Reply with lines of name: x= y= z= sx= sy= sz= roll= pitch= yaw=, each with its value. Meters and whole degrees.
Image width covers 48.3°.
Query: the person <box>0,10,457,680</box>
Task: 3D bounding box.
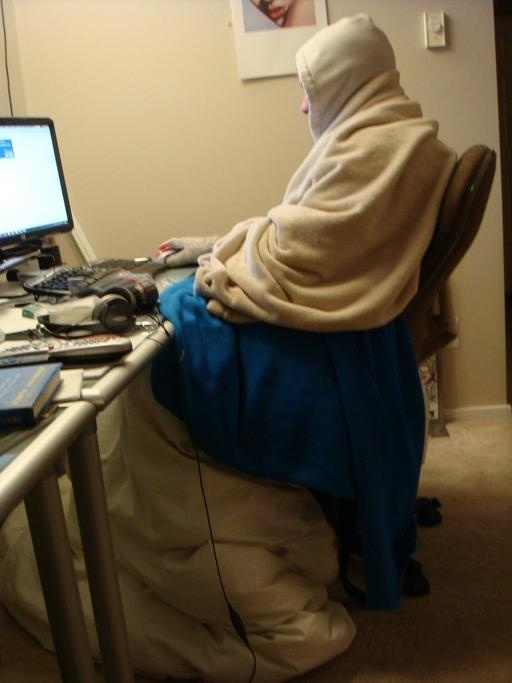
person: x=-0.083 y=-0.158 z=1.678 sx=1.006 sy=1.496 sz=1.158 roll=9 pitch=9 yaw=12

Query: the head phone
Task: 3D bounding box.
head phone: x=-0.246 y=-0.036 z=0.818 sx=0.110 sy=0.041 sz=0.096 roll=-7 pitch=15 yaw=-8

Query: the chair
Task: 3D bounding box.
chair: x=0.110 y=0.017 z=1.268 sx=0.682 sy=0.834 sz=0.611 roll=5 pitch=15 yaw=22
